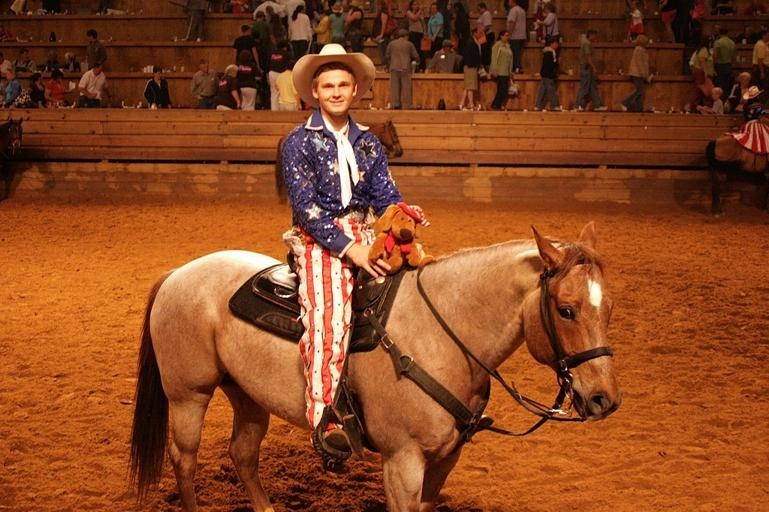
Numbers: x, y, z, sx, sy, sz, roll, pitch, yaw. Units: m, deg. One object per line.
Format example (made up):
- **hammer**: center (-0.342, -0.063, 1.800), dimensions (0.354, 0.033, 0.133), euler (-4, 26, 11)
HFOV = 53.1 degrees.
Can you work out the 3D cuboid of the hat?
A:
- **hat**: center (-0.528, -1.881, 7.815), dimensions (0.607, 0.678, 0.256), euler (-3, -21, 0)
